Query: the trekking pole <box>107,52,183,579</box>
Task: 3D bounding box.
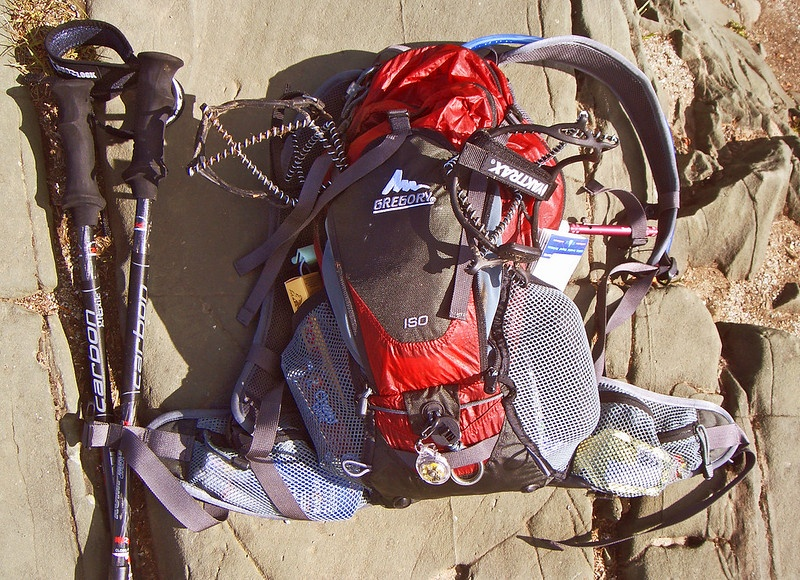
[{"bbox_3d":[-1.657,0.083,5.981,0.400,3.449,0.425,6,3,3],"label":"trekking pole"}]
